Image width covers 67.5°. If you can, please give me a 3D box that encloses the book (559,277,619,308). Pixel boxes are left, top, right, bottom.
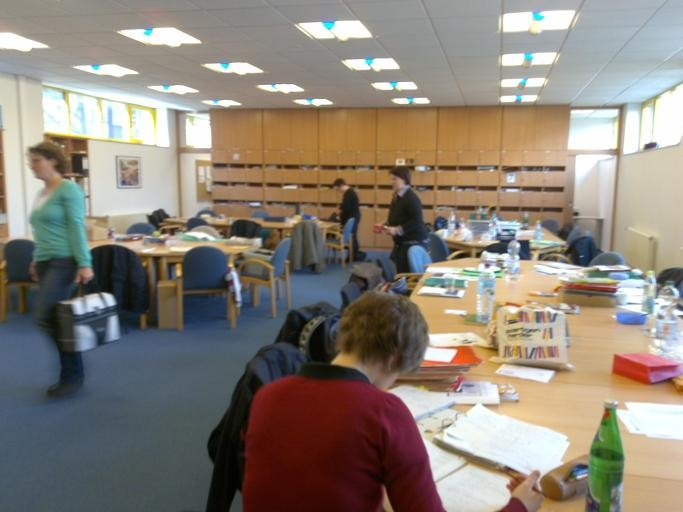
[{"bbox_3d":[1.808,0.264,3.722,0.254,0.101,0.261,2,5,31],"label":"book"}]

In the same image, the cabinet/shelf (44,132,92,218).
[{"bbox_3d":[-5.555,-1.685,10.640,0.556,1.449,0.179,-10,4,-42],"label":"cabinet/shelf"}]

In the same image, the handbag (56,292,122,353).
[{"bbox_3d":[-1.993,0.517,4.056,0.235,0.409,0.449,2,7,21],"label":"handbag"}]

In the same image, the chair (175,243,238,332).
[{"bbox_3d":[-1.542,0.329,5.843,0.790,0.927,0.777,-10,-9,38],"label":"chair"}]

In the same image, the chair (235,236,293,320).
[{"bbox_3d":[-0.966,0.221,6.424,0.609,0.891,0.667,5,7,25],"label":"chair"}]

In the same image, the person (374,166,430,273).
[{"bbox_3d":[0.694,-0.410,5.928,0.530,1.218,0.540,7,13,21],"label":"person"}]

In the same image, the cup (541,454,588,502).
[{"bbox_3d":[0.846,0.797,1.861,0.261,0.074,0.083,-5,-27,-34],"label":"cup"}]

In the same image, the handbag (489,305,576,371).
[{"bbox_3d":[1.025,0.434,2.738,0.400,0.339,0.241,-9,-22,44],"label":"handbag"}]

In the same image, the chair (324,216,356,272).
[{"bbox_3d":[-0.077,-0.293,9.790,0.538,0.845,0.656,5,10,12],"label":"chair"}]

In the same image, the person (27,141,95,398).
[{"bbox_3d":[-2.191,0.103,4.006,0.422,1.948,0.491,-5,14,-31],"label":"person"}]

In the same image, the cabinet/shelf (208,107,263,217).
[{"bbox_3d":[-2.592,-2.471,12.740,1.346,2.312,0.458,2,12,-3],"label":"cabinet/shelf"}]
